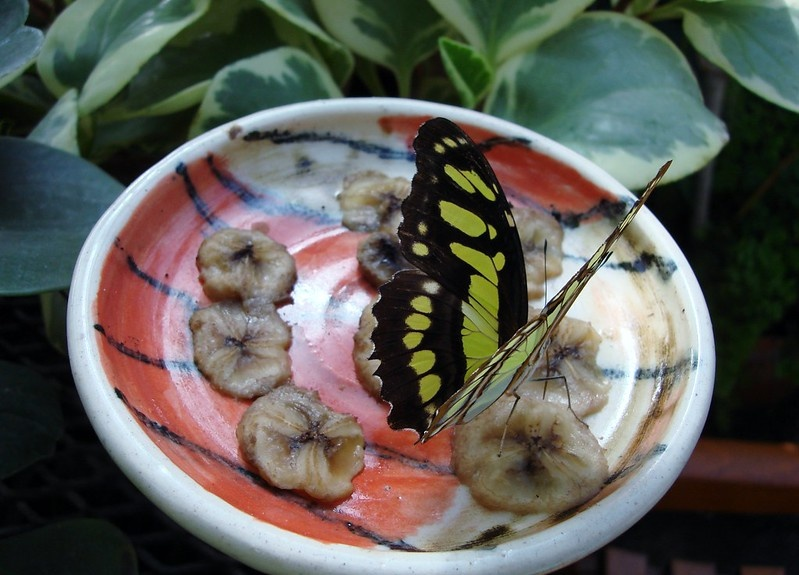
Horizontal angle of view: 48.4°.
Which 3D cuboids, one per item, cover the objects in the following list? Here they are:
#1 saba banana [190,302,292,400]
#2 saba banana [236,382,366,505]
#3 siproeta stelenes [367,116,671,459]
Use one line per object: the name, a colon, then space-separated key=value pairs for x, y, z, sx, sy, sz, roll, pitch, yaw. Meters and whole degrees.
saba banana: x=-0.224 y=0.091 z=1.269 sx=0.132 sy=0.060 sz=0.136 roll=-8 pitch=85 yaw=-2
saba banana: x=-0.131 y=0.210 z=1.188 sx=0.153 sy=0.020 sz=0.130 roll=39 pitch=46 yaw=11
siproeta stelenes: x=0.152 y=-0.001 z=1.112 sx=0.390 sy=0.344 sz=0.356 roll=4 pitch=107 yaw=34
